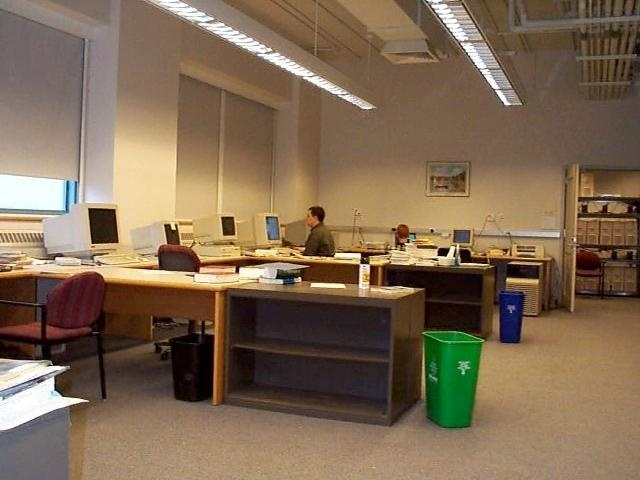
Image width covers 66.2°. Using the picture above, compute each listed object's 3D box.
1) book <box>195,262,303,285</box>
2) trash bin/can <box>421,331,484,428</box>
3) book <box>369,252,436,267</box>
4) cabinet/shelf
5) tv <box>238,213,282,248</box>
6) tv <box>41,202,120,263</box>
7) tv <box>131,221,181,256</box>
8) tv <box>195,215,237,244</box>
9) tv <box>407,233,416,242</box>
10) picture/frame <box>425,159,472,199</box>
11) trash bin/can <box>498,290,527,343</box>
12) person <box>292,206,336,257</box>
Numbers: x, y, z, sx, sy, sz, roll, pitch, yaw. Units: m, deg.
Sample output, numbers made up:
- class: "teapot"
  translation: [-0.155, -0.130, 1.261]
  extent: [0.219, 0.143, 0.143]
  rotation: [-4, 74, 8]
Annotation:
- class: "book"
  translation: [-0.536, 0.249, 3.805]
  extent: [0.837, 0.143, 0.297]
  rotation: [1, 4, -16]
- class: "trash bin/can"
  translation: [0.835, 1.007, 3.452]
  extent: [0.387, 0.599, 0.429]
  rotation: [14, -14, -39]
- class: "book"
  translation: [1.021, 0.222, 6.079]
  extent: [0.810, 0.147, 0.589]
  rotation: [2, 4, 5]
- class: "cabinet/shelf"
  translation: [-0.039, 0.803, 3.520]
  extent: [1.166, 0.763, 0.600]
  rotation: [2, -8, 13]
- class: "tv"
  translation: [-0.915, -0.124, 6.888]
  extent: [0.676, 0.466, 0.532]
  rotation: [-3, 0, 5]
- class: "tv"
  translation: [-2.494, -0.090, 5.190]
  extent: [0.746, 0.487, 0.739]
  rotation: [-6, 0, -25]
- class: "tv"
  translation: [-1.928, -0.009, 5.845]
  extent: [0.488, 0.333, 0.503]
  rotation: [-8, -2, 19]
- class: "tv"
  translation: [-1.343, -0.138, 6.325]
  extent: [0.388, 0.298, 0.399]
  rotation: [1, 1, 27]
- class: "tv"
  translation: [1.486, -0.040, 7.981]
  extent: [0.143, 0.136, 0.074]
  rotation: [1, -13, -32]
- class: "picture/frame"
  translation: [2.415, -1.142, 9.106]
  extent: [0.745, 0.634, 0.072]
  rotation: [1, 6, 17]
- class: "trash bin/can"
  translation: [2.213, 0.886, 5.710]
  extent: [0.267, 0.576, 0.311]
  rotation: [3, 4, 20]
- class: "person"
  translation: [-0.032, -0.175, 6.906]
  extent: [0.566, 0.921, 0.686]
  rotation: [4, 6, 22]
